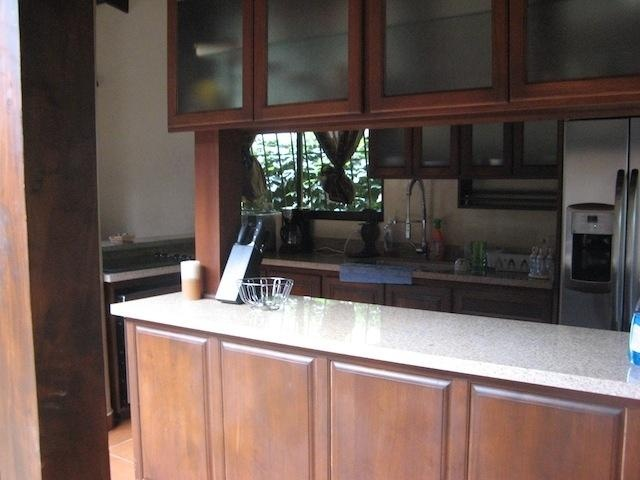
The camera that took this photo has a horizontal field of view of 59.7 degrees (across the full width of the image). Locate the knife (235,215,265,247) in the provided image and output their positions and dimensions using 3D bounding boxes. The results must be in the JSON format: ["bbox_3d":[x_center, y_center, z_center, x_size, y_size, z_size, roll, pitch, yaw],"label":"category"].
[{"bbox_3d":[-0.352,-0.039,2.780,0.113,0.219,0.049,10,22,14],"label":"knife"}]

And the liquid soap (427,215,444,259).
[{"bbox_3d":[0.855,-0.007,4.058,0.107,0.289,0.178,0,7,11],"label":"liquid soap"}]

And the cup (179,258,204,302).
[{"bbox_3d":[-0.557,0.179,2.426,0.082,0.163,0.071,-3,7,-17],"label":"cup"}]
